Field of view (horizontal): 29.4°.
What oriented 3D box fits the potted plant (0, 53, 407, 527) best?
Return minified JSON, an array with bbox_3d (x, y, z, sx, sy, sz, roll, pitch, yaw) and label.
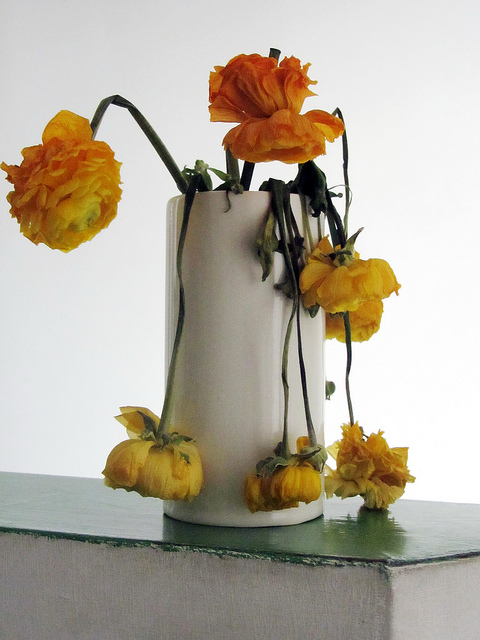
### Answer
[{"bbox_3d":[-0.023,-0.012,0.622,0.256,0.300,0.255,-2,-14,12],"label":"potted plant"}]
